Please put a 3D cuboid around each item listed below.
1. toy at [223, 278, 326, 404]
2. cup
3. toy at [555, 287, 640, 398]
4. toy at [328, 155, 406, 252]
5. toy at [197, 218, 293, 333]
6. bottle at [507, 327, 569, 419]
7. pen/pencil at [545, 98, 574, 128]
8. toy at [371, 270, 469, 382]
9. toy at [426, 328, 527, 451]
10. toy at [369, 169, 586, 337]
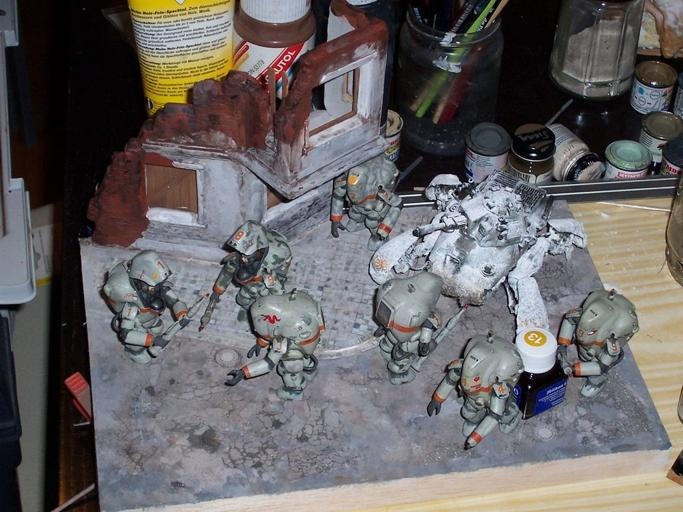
[{"bbox_3d":[-0.188,0.241,1.856,0.254,0.388,0.367,6,62,-5],"label":"toy"},{"bbox_3d":[0.391,-0.633,2.317,0.303,0.462,0.327,-1,57,1],"label":"cup"},{"bbox_3d":[0.721,0.263,1.838,0.184,0.331,0.227,19,50,22],"label":"toy"},{"bbox_3d":[0.072,-0.163,2.048,0.159,0.237,0.164,40,77,3],"label":"toy"},{"bbox_3d":[-0.296,0.064,1.895,0.252,0.337,0.257,-4,43,-8],"label":"toy"},{"bbox_3d":[0.524,0.322,1.710,0.125,0.177,0.127,-5,44,5],"label":"bottle"},{"bbox_3d":[0.872,-0.569,2.550,0.022,0.015,0.219,40,68,4],"label":"pen/pencil"},{"bbox_3d":[0.204,0.212,1.853,0.252,0.384,0.161,-11,49,-17],"label":"toy"},{"bbox_3d":[0.361,0.408,1.721,0.227,0.328,0.303,2,40,17],"label":"toy"},{"bbox_3d":[0.428,-0.059,1.901,0.542,0.272,0.413,26,62,37],"label":"toy"}]
